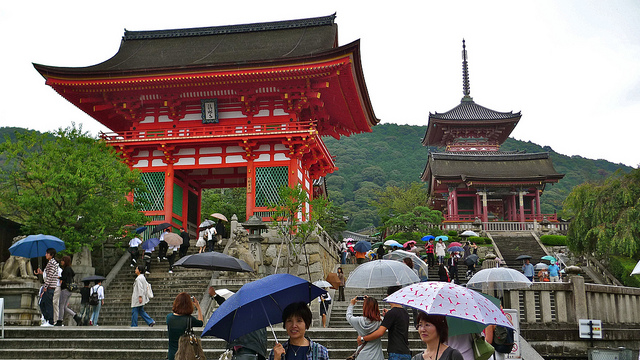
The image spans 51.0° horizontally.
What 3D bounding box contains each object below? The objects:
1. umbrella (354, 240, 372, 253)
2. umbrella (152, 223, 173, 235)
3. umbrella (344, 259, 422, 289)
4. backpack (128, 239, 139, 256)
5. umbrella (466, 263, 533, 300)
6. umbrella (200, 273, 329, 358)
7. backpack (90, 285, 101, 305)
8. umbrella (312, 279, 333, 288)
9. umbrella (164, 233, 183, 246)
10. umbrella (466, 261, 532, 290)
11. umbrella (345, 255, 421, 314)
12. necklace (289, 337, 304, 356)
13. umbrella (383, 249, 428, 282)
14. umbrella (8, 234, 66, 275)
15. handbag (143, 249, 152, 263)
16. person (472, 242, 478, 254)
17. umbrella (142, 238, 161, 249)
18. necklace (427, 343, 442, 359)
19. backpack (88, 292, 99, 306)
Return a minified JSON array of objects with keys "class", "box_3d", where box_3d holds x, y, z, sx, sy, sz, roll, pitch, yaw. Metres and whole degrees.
[{"class":"umbrella","box_3d":[2.240,3.418,35.318,0.825,0.842,1.697,-1,-18,4]},{"class":"umbrella","box_3d":[-7.802,2.241,32.746,0.618,0.511,0.737,1,-18,0]},{"class":"umbrella","box_3d":[2.162,3.218,22.777,1.499,0.511,1.401,4,-31,-31]},{"class":"backpack","box_3d":[-8.857,3.295,31.540,0.396,0.601,0.468,-10,-29,-20]},{"class":"umbrella","box_3d":[6.482,3.635,24.280,1.392,0.644,1.421,-14,-15,42]},{"class":"umbrella","box_3d":[-1.783,3.660,19.567,2.683,1.657,2.608,-20,-26,-34]},{"class":"backpack","box_3d":[-9.085,4.657,26.860,0.363,0.574,0.255,7,-20,-17]},{"class":"umbrella","box_3d":[0.079,3.928,25.508,0.951,0.387,0.869,-1,-17,1]},{"class":"umbrella","box_3d":[-6.775,2.670,30.891,0.688,0.693,0.793,-7,-20,20]},{"class":"umbrella","box_3d":[6.348,3.589,24.400,1.503,0.828,1.402,3,-14,-26]},{"class":"umbrella","box_3d":[2.154,3.801,23.518,2.703,2.004,2.482,-4,2,22]},{"class":"necklace","box_3d":[-0.681,4.745,18.924,0.400,0.358,0.089,-4,-20,13]},{"class":"umbrella","box_3d":[3.570,3.357,26.589,1.565,0.825,1.473,5,-7,-28]},{"class":"umbrella","box_3d":[-11.173,2.699,26.415,1.404,1.053,1.365,-27,-24,15]},{"class":"handbag","box_3d":[-7.865,3.520,30.381,0.289,0.341,0.125,5,3,19]},{"class":"person","box_3d":[8.817,3.855,38.256,0.293,0.711,0.679,4,-60,10]},{"class":"umbrella","box_3d":[-7.841,2.898,30.954,0.575,0.612,0.723,-5,-19,15]},{"class":"necklace","box_3d":[3.175,4.696,18.487,0.305,0.365,0.375,19,-13,-14]},{"class":"backpack","box_3d":[-9.121,4.730,26.826,0.377,0.493,0.244,8,-20,-19]}]
